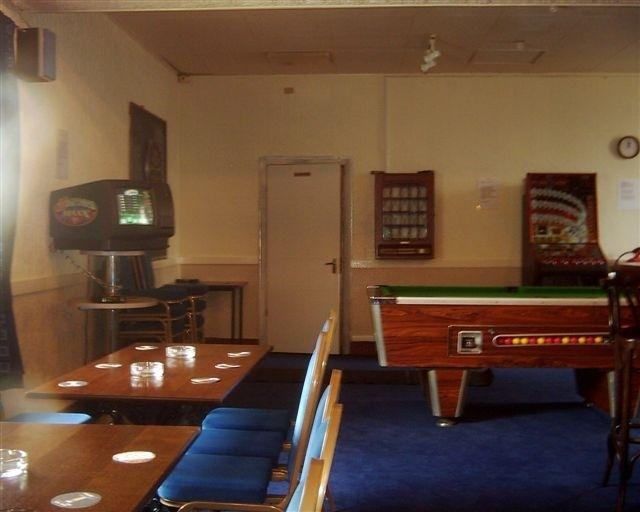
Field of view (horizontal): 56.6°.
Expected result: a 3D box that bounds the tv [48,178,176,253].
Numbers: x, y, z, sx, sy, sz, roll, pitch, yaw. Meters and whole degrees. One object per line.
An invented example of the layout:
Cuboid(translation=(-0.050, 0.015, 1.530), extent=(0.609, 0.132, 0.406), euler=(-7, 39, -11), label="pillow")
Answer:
Cuboid(translation=(-1.721, -0.330, 4.914), extent=(0.934, 0.353, 0.819), euler=(-5, 4, -33), label="tv")

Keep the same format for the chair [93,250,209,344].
Cuboid(translation=(-1.686, 0.421, 5.821), extent=(0.784, 0.769, 1.481), euler=(-1, 1, 2), label="chair")

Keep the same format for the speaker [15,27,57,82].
Cuboid(translation=(-1.971, -1.457, 4.332), extent=(0.275, 0.336, 0.349), euler=(12, 13, 27), label="speaker")
